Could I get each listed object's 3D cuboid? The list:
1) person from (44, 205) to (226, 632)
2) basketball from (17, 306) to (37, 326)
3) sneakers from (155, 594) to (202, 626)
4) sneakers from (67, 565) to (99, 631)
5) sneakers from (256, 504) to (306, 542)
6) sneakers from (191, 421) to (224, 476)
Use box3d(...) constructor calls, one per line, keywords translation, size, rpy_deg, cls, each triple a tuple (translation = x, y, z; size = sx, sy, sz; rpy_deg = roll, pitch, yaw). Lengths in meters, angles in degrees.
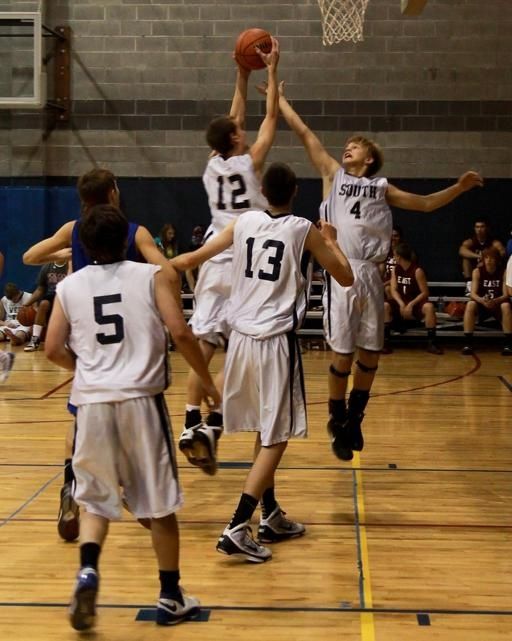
box3d(translation=(-0.330, 0.290, 2.221), size=(0.500, 1.234, 0.314), rpy_deg=(-2, 6, -14), cls="person")
box3d(translation=(-2.609, -0.058, 8.908), size=(0.252, 0.269, 0.235), rpy_deg=(-3, 21, -11), cls="basketball")
box3d(translation=(-0.234, 0.859, 2.303), size=(0.060, 0.066, 0.157), rpy_deg=(-1, -1, 32), cls="sneakers")
box3d(translation=(-0.455, 0.743, 2.108), size=(0.069, 0.166, 0.075), rpy_deg=(8, 3, -13), cls="sneakers")
box3d(translation=(0.083, 0.787, 3.056), size=(0.241, 0.137, 0.086), rpy_deg=(-3, 3, -29), cls="sneakers")
box3d(translation=(-0.202, 0.530, 3.249), size=(0.092, 0.250, 0.110), rpy_deg=(1, 49, 13), cls="sneakers")
